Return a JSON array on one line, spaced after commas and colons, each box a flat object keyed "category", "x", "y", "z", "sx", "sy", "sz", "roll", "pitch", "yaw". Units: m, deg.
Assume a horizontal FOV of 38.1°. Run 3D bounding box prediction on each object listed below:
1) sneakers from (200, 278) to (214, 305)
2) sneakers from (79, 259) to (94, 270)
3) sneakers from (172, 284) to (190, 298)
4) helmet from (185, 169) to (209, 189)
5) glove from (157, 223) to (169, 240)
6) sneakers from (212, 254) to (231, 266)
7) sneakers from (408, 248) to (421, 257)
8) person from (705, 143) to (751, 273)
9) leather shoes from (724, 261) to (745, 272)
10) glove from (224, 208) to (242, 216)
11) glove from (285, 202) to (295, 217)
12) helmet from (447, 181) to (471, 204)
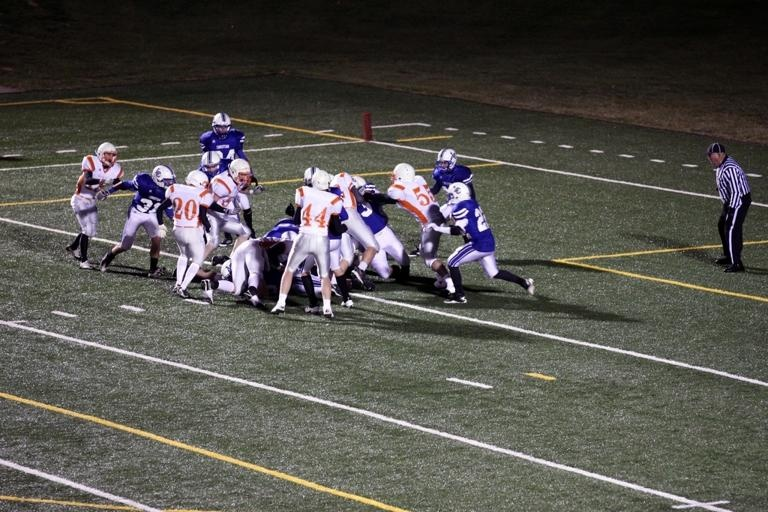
[{"category": "sneakers", "x": -2.918, "y": 0.585, "z": 18.531, "sx": 0.310, "sy": 0.419, "sz": 0.176, "roll": -5, "pitch": 7, "yaw": 2}, {"category": "sneakers", "x": -5.223, "y": 0.152, "z": 19.889, "sx": 0.309, "sy": 0.140, "sz": 0.139, "roll": 4, "pitch": 9, "yaw": 19}, {"category": "sneakers", "x": -3.370, "y": 0.594, "z": 18.667, "sx": 0.160, "sy": 0.141, "sz": 0.376, "roll": 12, "pitch": -10, "yaw": 39}, {"category": "helmet", "x": -3.175, "y": -1.302, "z": 19.003, "sx": 0.362, "sy": 0.259, "sz": 0.390, "roll": 16, "pitch": 19, "yaw": 4}, {"category": "glove", "x": -3.876, "y": -0.446, "z": 19.735, "sx": 0.262, "sy": 0.220, "sz": 0.074, "roll": -5, "pitch": -12, "yaw": -5}, {"category": "sneakers", "x": -2.896, "y": 0.049, "z": 20.029, "sx": 0.302, "sy": 0.129, "sz": 0.284, "roll": 0, "pitch": 21, "yaw": 4}, {"category": "sneakers", "x": 0.601, "y": -0.071, "z": 21.437, "sx": 0.235, "sy": 0.077, "sz": 0.138, "roll": -6, "pitch": 10, "yaw": -37}, {"category": "person", "x": 6.464, "y": -0.906, "z": 20.875, "sx": 0.803, "sy": 2.135, "sz": 0.614, "roll": 6, "pitch": -1, "yaw": -8}, {"category": "leather shoes", "x": 6.512, "y": 0.212, "z": 20.695, "sx": 0.419, "sy": 0.171, "sz": 0.203, "roll": 3, "pitch": -1, "yaw": -1}, {"category": "glove", "x": -2.710, "y": -0.803, "z": 20.168, "sx": 0.284, "sy": 0.054, "sz": 0.225, "roll": 0, "pitch": 12, "yaw": -7}, {"category": "glove", "x": -1.661, "y": -0.787, "z": 19.448, "sx": 0.181, "sy": 0.200, "sz": 0.496, "roll": 17, "pitch": -11, "yaw": -1}, {"category": "helmet", "x": 1.343, "y": -1.093, "z": 19.328, "sx": 0.504, "sy": 0.342, "sz": 0.331, "roll": -5, "pitch": 14, "yaw": 8}]
